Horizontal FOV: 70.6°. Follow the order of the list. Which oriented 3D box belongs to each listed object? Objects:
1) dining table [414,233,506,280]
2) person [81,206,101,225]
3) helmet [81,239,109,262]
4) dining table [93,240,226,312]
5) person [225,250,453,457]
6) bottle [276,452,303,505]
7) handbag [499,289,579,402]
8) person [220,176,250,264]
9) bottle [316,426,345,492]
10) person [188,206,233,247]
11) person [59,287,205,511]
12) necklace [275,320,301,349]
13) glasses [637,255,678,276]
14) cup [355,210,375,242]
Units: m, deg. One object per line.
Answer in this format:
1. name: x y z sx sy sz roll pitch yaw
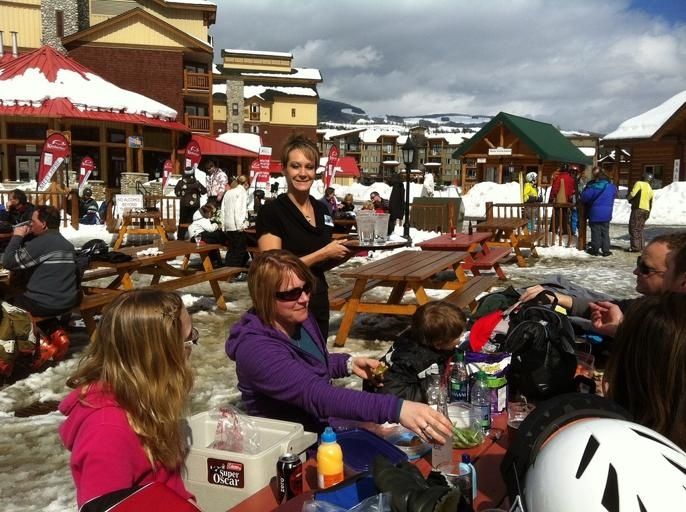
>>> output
1. dining table: 2.427 -0.130 9.712 1.210 0.658 1.845 2 10 26
2. person: -9.265 -1.702 17.921 0.598 0.997 1.063 -4 11 -34
3. helmet: -3.400 -0.081 6.701 0.359 0.228 0.325 -1 6 22
4. dining table: -2.676 0.244 7.797 1.607 0.748 1.612 3 7 17
5. person: 0.111 0.464 2.939 1.378 1.478 0.885 -3 24 9
6. bottle: -0.227 0.960 2.096 0.112 0.182 0.227 -1 5 -6
7. handbag: 1.314 0.581 3.325 0.513 0.908 0.887 -2 1 25
8. person: -2.206 -0.679 10.643 0.687 2.118 0.767 0 16 -16
9. bottle: -0.050 0.885 2.120 0.117 0.290 0.132 -1 5 -1
10. person: -3.178 -0.609 11.507 0.890 1.234 0.619 -3 10 -19
11. person: -0.878 0.637 2.039 0.558 0.966 0.543 -3 5 -25
12. necklace: -0.322 0.469 2.933 0.137 0.150 0.169 -1 -13 -23
13. glasses: 2.325 0.092 3.620 0.232 0.070 0.220 12 8 5
14. cup: 0.185 -0.233 3.862 0.140 0.258 0.342 0 5 2
